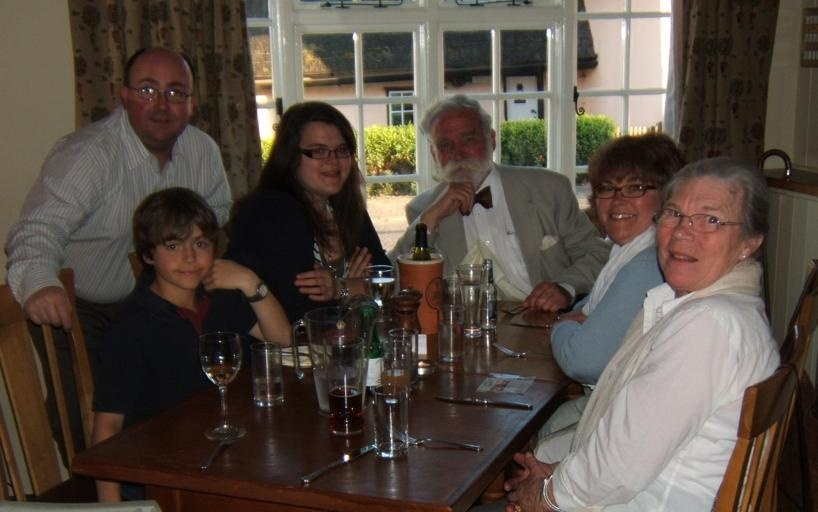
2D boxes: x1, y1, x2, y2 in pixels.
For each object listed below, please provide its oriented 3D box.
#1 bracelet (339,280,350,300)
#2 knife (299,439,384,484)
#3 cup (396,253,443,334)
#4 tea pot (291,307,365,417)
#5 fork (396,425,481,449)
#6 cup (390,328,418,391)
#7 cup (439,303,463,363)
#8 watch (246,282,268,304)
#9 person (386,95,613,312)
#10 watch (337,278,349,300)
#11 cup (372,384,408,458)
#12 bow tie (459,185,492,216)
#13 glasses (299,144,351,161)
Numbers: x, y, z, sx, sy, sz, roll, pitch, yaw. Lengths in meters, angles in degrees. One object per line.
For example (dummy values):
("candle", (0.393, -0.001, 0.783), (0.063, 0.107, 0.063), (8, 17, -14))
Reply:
("bracelet", (-0.289, 0.144, 2.845), (0.057, 0.065, 0.075), (1, 0, -5))
("knife", (-0.201, 0.621, 1.928), (0.044, 0.036, 0.333), (36, 25, 25))
("cup", (0.047, 0.153, 2.846), (0.279, 0.407, 0.284), (-1, 8, 0))
("tea pot", (-0.343, 0.390, 2.187), (0.189, 0.286, 0.294), (-10, -17, -1))
("fork", (0.091, 0.568, 2.007), (0.237, 0.035, 0.038), (6, 44, 9))
("cup", (0.000, 0.378, 2.277), (0.122, 0.193, 0.121), (-3, -10, -1))
("cup", (0.160, 0.308, 2.533), (0.112, 0.230, 0.111), (0, 4, 0))
("watch", (-0.599, 0.153, 2.627), (0.076, 0.077, 0.080), (6, -21, 42))
("person", (0.499, -0.306, 3.742), (1.310, 1.252, 0.808), (-6, 12, 17))
("watch", (-0.305, 0.145, 2.843), (0.030, 0.082, 0.064), (-13, -13, -11))
("cup", (-0.053, 0.504, 1.975), (0.102, 0.202, 0.109), (-2, 9, 0))
("bow tie", (0.367, -0.310, 3.579), (0.171, 0.165, 0.054), (0, 6, 10))
("glasses", (-0.389, -0.483, 2.991), (0.236, 0.062, 0.066), (-3, 8, -6))
